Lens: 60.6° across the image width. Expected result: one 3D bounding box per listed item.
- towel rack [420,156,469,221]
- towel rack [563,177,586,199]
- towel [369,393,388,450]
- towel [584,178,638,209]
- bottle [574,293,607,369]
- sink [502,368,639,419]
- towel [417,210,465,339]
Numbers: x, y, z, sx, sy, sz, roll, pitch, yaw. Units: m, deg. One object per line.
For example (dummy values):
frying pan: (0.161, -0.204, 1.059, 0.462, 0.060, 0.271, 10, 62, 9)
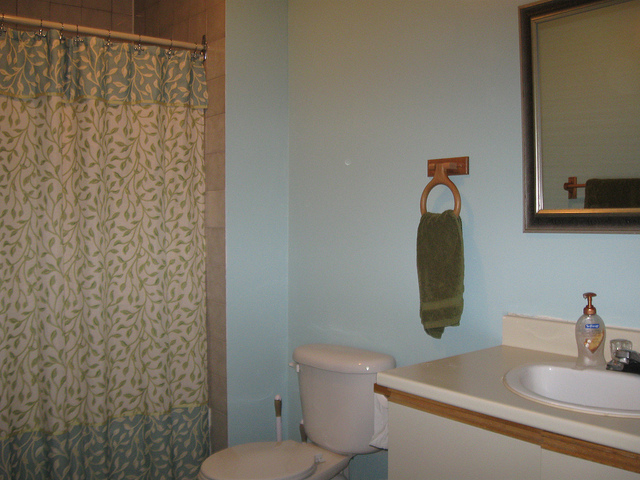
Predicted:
towel rack: (0.519, -0.207, 2.322, 0.191, 0.297, 0.065, 3, 3, 44)
towel rack: (0.931, -0.197, 2.025, 0.099, 0.114, 0.030, 1, 1, -21)
towel: (0.232, 0.725, 2.172, 0.064, 0.246, 0.107, -1, 1, 1)
towel: (1.035, -0.172, 1.949, 0.167, 0.105, 0.016, 0, 2, 32)
bottle: (0.939, 0.312, 1.908, 0.123, 0.259, 0.082, -1, 1, 5)
sink: (0.805, 0.502, 1.754, 0.410, 0.118, 0.326, 0, 2, 20)
towel: (0.487, 0.119, 2.236, 0.181, 0.485, 0.066, 0, 1, 16)
